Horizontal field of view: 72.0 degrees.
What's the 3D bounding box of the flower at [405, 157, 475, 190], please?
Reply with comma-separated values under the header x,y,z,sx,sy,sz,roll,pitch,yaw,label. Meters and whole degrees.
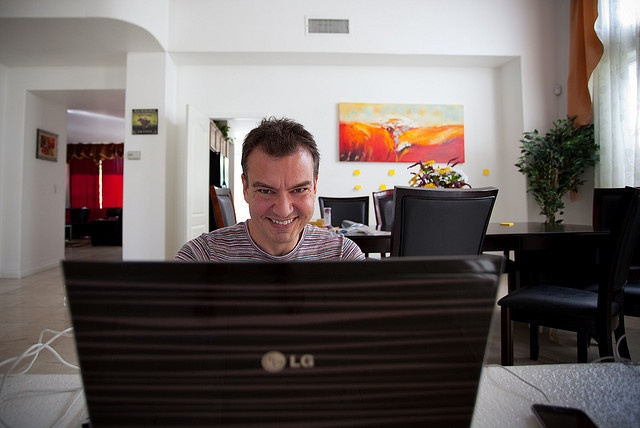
x,y,z,sx,sy,sz,roll,pitch,yaw,label
1.033,-0.302,3.784,0.373,0.221,0.380,5,-7,-3,flower
